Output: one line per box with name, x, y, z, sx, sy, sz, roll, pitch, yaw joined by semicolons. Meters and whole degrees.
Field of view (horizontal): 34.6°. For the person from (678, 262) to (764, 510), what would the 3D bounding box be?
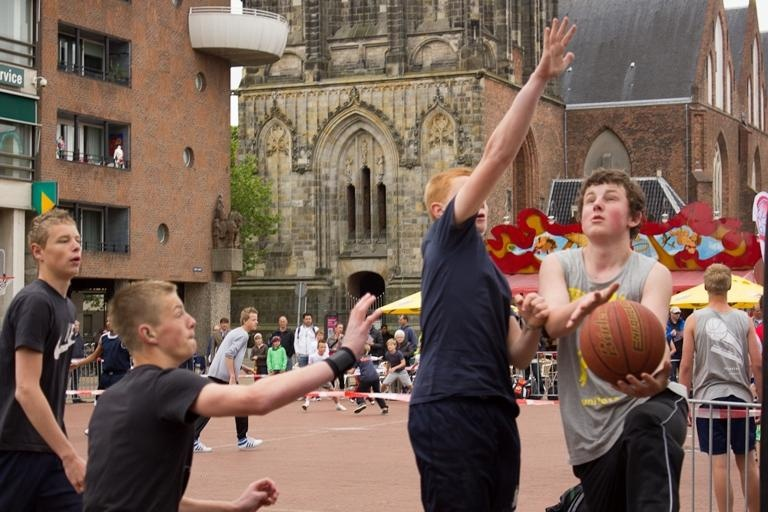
person;4.407;1.649;16.022;0.979;3.436;1.265;-1;-2;23
